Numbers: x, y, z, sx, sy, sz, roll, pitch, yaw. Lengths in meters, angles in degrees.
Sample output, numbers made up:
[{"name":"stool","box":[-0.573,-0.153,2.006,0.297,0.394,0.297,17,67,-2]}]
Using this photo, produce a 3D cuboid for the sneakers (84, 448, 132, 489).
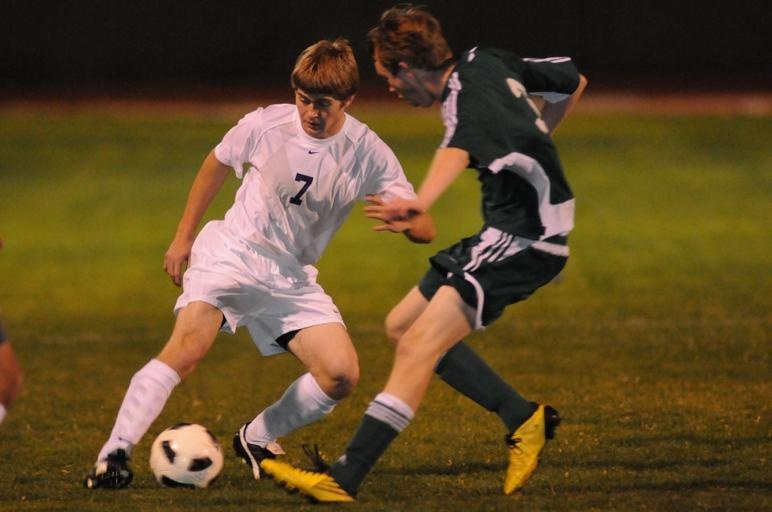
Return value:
[{"name":"sneakers","box":[-2.247,1.732,9.171,0.276,0.268,0.375,12,-27,-36]}]

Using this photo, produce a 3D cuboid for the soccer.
[{"name":"soccer","box":[-1.650,1.656,9.493,0.643,0.554,0.666,6,64,-8]}]
